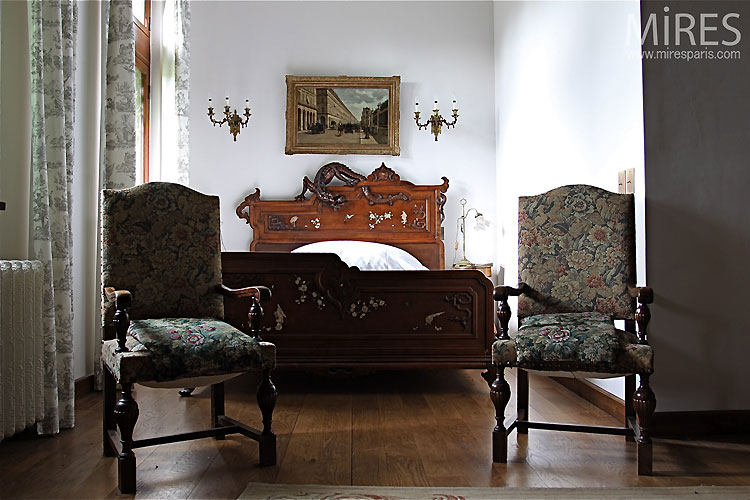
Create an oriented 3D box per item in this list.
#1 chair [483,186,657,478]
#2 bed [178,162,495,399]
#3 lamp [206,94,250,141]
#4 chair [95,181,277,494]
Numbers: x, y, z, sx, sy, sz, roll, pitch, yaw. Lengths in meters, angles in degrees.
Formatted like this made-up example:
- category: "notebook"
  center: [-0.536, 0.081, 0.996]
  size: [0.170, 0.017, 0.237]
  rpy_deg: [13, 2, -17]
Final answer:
- category: "chair"
  center: [1.236, 0.395, 3.613]
  size: [0.946, 1.571, 1.010]
  rpy_deg: [3, 8, 20]
- category: "bed"
  center: [0.006, 0.090, 5.426]
  size: [1.957, 1.576, 2.148]
  rpy_deg: [0, -3, 1]
- category: "lamp"
  center: [-1.541, -1.420, 6.317]
  size: [0.550, 0.534, 0.495]
  rpy_deg: [-2, 15, -24]
- category: "chair"
  center: [-1.125, 0.410, 3.473]
  size: [0.930, 1.602, 0.905]
  rpy_deg: [-4, 9, -25]
